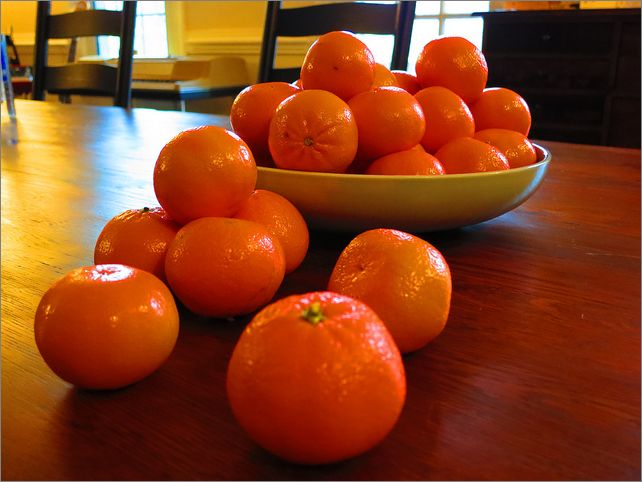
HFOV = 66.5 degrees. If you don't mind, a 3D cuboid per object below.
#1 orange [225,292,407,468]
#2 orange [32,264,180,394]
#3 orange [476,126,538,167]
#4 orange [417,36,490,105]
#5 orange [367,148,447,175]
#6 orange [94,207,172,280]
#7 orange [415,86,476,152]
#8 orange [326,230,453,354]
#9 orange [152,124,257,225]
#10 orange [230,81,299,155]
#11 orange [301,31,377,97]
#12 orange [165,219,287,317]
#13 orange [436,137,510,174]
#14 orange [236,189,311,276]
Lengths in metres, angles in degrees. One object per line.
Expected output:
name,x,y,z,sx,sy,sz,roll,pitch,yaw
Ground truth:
orange,-0.003,0.064,0.323,0.094,0.088,0.093,-6,12,-41
orange,-0.164,0.067,0.376,0.100,0.095,0.095,-13,21,-38
orange,0.236,-0.127,0.651,0.081,0.056,0.061,6,-6,38
orange,0.188,-0.231,0.702,0.079,0.100,0.088,5,44,20
orange,0.093,-0.085,0.538,0.053,0.036,0.042,0,14,16
orange,-0.166,-0.002,0.451,0.063,0.069,0.065,0,9,-11
orange,0.144,-0.151,0.625,0.074,0.095,0.072,-3,13,-8
orange,0.062,0.058,0.435,0.088,0.090,0.097,36,26,-26
orange,-0.114,-0.063,0.482,0.099,0.106,0.098,5,18,-2
orange,-0.085,-0.157,0.665,0.081,0.066,0.087,37,32,6
orange,0.020,-0.214,0.633,0.083,0.091,0.080,-6,15,-10
orange,-0.084,0.017,0.403,0.084,0.072,0.083,2,4,-5
orange,0.177,-0.101,0.587,0.079,0.052,0.063,3,11,27
orange,-0.040,-0.002,0.495,0.072,0.093,0.073,-5,-3,-12
